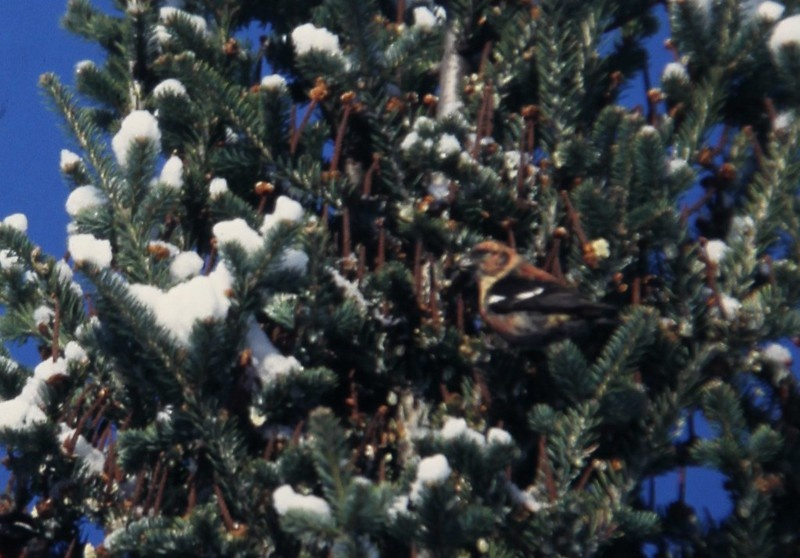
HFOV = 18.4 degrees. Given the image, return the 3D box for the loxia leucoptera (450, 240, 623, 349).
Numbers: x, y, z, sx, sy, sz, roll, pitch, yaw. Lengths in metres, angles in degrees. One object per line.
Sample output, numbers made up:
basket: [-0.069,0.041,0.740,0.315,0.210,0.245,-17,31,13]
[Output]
loxia leucoptera: [0.366,0.026,6.593,0.501,0.238,0.244,8,-86,23]
